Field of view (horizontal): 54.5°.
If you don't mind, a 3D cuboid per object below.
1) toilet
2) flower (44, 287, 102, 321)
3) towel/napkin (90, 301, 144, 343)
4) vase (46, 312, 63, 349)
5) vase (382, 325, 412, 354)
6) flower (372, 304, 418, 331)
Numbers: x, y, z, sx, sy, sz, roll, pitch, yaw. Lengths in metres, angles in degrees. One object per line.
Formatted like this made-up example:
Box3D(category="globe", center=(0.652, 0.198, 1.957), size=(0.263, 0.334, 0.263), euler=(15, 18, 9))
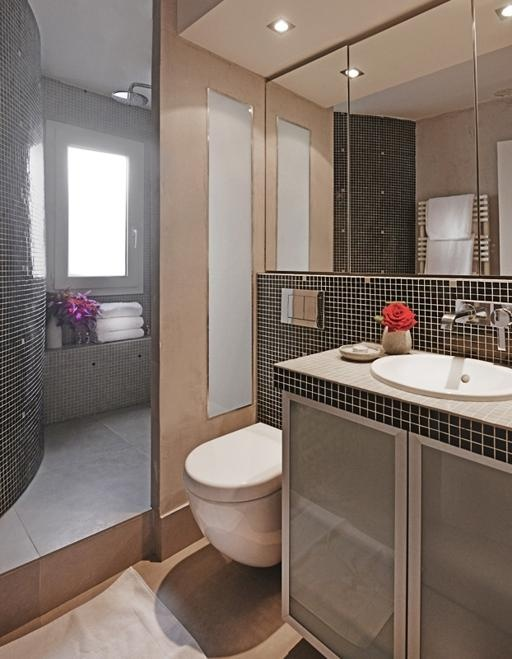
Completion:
Box3D(category="toilet", center=(-0.035, 0.540, 1.861), size=(0.331, 0.444, 0.441), euler=(7, 10, 43))
Box3D(category="flower", center=(-1.200, -0.180, 3.228), size=(0.187, 0.106, 0.215), euler=(30, 12, 24))
Box3D(category="towel/napkin", center=(-0.964, -0.128, 3.515), size=(0.201, 0.260, 0.302), euler=(8, 11, 39))
Box3D(category="vase", center=(-1.294, 0.008, 3.229), size=(0.073, 0.199, 0.179), euler=(3, 11, 8))
Box3D(category="vase", center=(0.474, 0.024, 1.661), size=(0.071, 0.098, 0.083), euler=(-1, 2, -9))
Box3D(category="flower", center=(0.471, -0.037, 1.646), size=(0.072, 0.089, 0.101), euler=(-7, 15, -39))
